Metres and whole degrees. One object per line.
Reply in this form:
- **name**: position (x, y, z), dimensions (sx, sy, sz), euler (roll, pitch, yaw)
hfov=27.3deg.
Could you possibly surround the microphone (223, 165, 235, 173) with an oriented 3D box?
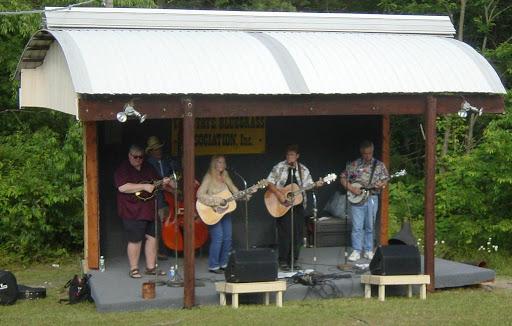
- **microphone**: position (-0.713, 0.157, 27.475), dimensions (0.233, 0.129, 0.089), euler (23, -5, 37)

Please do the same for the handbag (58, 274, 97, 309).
- **handbag**: position (-4.385, 3.175, 26.370), dimensions (0.690, 0.697, 0.962), euler (1, -1, 2)

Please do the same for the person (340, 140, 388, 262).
- **person**: position (2.974, 1.030, 27.906), dimensions (1.142, 3.216, 0.946), euler (2, 2, 12)

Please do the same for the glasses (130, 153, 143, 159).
- **glasses**: position (-2.959, -0.154, 26.340), dimensions (0.338, 0.132, 0.163), euler (-2, -1, -32)

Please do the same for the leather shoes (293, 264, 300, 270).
- **leather shoes**: position (1.047, 2.652, 26.865), dimensions (0.167, 0.135, 0.355), euler (-3, -1, 2)

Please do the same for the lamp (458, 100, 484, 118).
- **lamp**: position (5.370, -1.353, 26.493), dimensions (0.728, 0.406, 0.275), euler (-2, 0, -28)

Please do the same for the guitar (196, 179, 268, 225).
- **guitar**: position (-0.568, 0.886, 26.590), dimensions (1.725, 0.689, 0.250), euler (-27, 19, -9)

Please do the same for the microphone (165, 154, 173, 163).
- **microphone**: position (-2.290, -0.097, 27.461), dimensions (0.166, 0.225, 0.069), euler (3, -1, -17)

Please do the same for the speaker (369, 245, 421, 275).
- **speaker**: position (3.474, 2.382, 25.735), dimensions (1.064, 0.743, 0.737), euler (1, 0, -11)

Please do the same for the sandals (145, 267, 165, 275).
- **sandals**: position (-2.550, 2.733, 26.448), dimensions (0.507, 0.188, 0.239), euler (-1, -2, 9)

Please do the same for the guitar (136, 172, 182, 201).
- **guitar**: position (-2.396, 0.549, 26.461), dimensions (1.270, 0.513, 0.182), euler (-36, 5, -41)

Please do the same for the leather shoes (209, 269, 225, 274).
- **leather shoes**: position (-0.981, 2.738, 26.584), dimensions (0.342, 0.103, 0.132), euler (-4, -3, 19)

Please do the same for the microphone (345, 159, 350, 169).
- **microphone**: position (2.428, 0.038, 27.849), dimensions (0.167, 0.235, 0.072), euler (9, -5, 44)

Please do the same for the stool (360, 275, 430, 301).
- **stool**: position (3.414, 3.047, 25.924), dimensions (1.638, 0.657, 0.415), euler (-3, 0, -4)

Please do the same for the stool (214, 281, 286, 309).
- **stool**: position (-0.112, 3.167, 25.444), dimensions (1.714, 0.653, 0.392), euler (-3, 0, -4)

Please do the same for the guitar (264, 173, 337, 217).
- **guitar**: position (1.048, 0.804, 26.815), dimensions (2.041, 0.852, 0.277), euler (-26, -5, -3)

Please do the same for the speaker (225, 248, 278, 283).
- **speaker**: position (-0.134, 2.473, 25.658), dimensions (1.203, 0.858, 1.015), euler (1, -2, -15)

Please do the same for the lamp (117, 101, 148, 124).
- **lamp**: position (-2.942, -1.153, 25.004), dimensions (0.571, 0.510, 0.169), euler (30, -16, -18)
